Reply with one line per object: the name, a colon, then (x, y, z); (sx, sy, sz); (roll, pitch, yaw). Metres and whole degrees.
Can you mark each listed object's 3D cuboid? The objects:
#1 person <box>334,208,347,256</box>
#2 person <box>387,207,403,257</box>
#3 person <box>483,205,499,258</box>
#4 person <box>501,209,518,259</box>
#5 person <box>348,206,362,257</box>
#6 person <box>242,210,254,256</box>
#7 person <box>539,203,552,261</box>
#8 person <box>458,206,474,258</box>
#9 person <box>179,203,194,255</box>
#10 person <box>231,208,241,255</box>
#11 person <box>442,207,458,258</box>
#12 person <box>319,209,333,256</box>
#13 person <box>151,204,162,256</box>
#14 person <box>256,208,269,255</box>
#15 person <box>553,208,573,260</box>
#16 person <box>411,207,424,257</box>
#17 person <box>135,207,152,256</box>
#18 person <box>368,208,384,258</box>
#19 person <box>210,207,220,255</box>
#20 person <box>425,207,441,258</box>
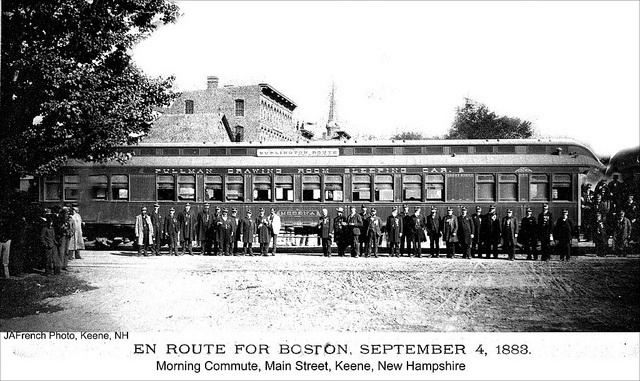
person: (1.006, 1.979, 33.392); (0.656, 2.383, 0.791); (-1, -6, 1)
person: (3.646, 1.967, 33.028); (0.742, 2.339, 0.617); (0, -6, -7)
person: (8.188, 1.934, 32.570); (0.839, 2.437, 0.606); (-4, -7, 27)
person: (8.975, 2.063, 32.252); (0.738, 2.405, 0.983); (-3, -6, 14)
person: (1.748, 1.987, 32.979); (0.697, 2.407, 0.696); (-1, -6, 2)
person: (-3.511, 2.052, 33.799); (0.544, 2.264, 0.856); (-1, -6, -3)
person: (10.550, 1.906, 31.875); (0.618, 2.639, 1.296); (-3, -6, 18)
person: (6.969, 1.976, 32.568); (0.574, 2.412, 0.789); (-7, -9, 44)
person: (-6.459, 1.832, 33.350); (0.661, 2.499, 0.752); (0, -6, -13)
person: (-4.120, 1.953, 33.849); (0.455, 2.337, 1.135); (0, -6, -7)
person: (6.280, 1.969, 32.693); (0.705, 2.387, 0.908); (-3, -6, 13)
person: (0.355, 2.005, 33.513); (0.585, 2.360, 0.691); (3, -7, -33)
person: (-7.887, 1.898, 33.337); (0.532, 2.421, 1.269); (-1, -6, -2)
person: (-2.728, 2.010, 33.449); (0.584, 2.270, 0.471); (-1, -6, -5)
person: (11.310, 2.028, 31.674); (0.827, 2.366, 0.952); (-3, -6, 18)
person: (4.810, 2.017, 33.199); (0.595, 2.390, 0.820); (-2, -6, 8)
person: (-8.421, 1.907, 33.095); (0.881, 2.412, 1.172); (-2, -6, 6)
person: (2.722, 2.010, 33.449); (0.735, 2.459, 1.550); (-2, -6, 7)
person: (-5.063, 1.923, 33.209); (0.445, 2.275, 0.793); (2, -7, -24)
person: (5.564, 1.977, 33.249); (0.704, 2.485, 0.700); (-2, -6, 11)
